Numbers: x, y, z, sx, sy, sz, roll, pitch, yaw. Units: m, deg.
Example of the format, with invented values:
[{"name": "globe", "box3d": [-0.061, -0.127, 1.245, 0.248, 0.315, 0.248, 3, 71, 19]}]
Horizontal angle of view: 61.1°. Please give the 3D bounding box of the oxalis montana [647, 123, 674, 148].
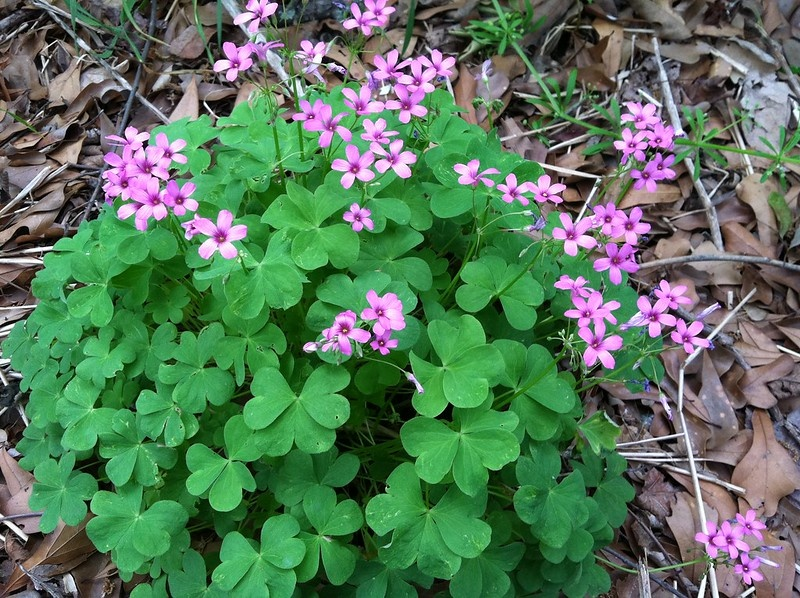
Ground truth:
[{"name": "oxalis montana", "box3d": [1.744, -1.082, 4.516, 0.166, 0.096, 0.189, 9, 80, 20]}]
